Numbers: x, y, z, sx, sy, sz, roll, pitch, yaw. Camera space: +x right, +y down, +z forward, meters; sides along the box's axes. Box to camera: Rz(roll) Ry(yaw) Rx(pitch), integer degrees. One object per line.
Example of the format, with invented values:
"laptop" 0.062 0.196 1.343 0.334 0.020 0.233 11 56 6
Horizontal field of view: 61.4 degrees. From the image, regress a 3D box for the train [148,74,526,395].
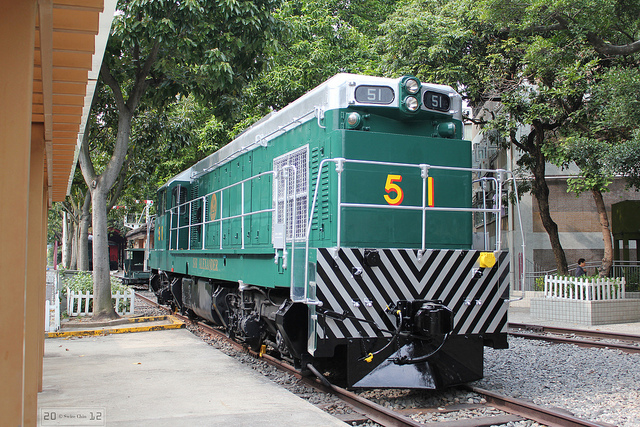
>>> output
"train" -0.414 0.346 10.082 2.816 4.852 7.027 3 -3 -38
